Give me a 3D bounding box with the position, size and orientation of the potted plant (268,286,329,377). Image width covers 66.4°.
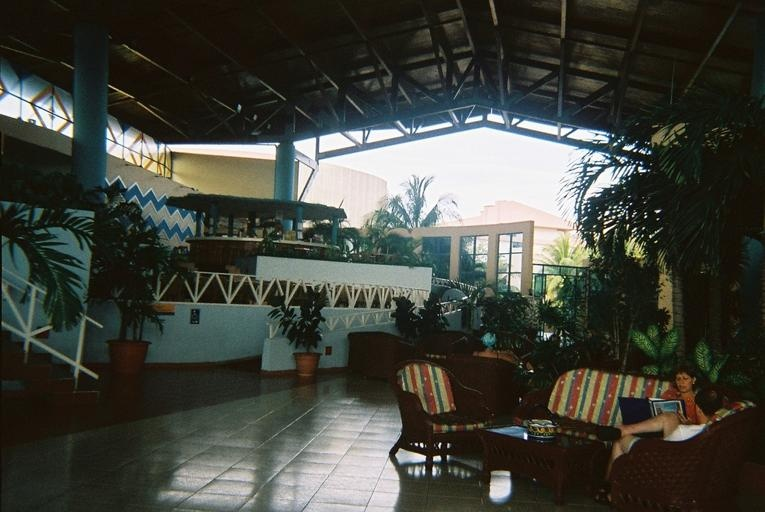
[{"bbox_3d":[-1.918,1.799,13.296,1.744,2.175,1.256,0,-11,2],"label":"potted plant"}]

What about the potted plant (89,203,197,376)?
[{"bbox_3d":[-5.170,0.658,12.136,1.919,3.431,2.382,0,-2,29],"label":"potted plant"}]

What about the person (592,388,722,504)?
[{"bbox_3d":[3.092,2.132,6.451,0.776,1.207,0.521,18,-33,40],"label":"person"}]

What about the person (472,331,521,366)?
[{"bbox_3d":[2.916,2.389,15.162,1.016,0.514,1.417,7,0,-29],"label":"person"}]

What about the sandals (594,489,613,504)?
[{"bbox_3d":[2.558,2.757,6.759,0.183,0.183,0.181,3,-4,-4],"label":"sandals"}]

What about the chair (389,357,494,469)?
[{"bbox_3d":[0.797,2.058,7.719,1.321,1.267,1.296,-1,-7,16],"label":"chair"}]
